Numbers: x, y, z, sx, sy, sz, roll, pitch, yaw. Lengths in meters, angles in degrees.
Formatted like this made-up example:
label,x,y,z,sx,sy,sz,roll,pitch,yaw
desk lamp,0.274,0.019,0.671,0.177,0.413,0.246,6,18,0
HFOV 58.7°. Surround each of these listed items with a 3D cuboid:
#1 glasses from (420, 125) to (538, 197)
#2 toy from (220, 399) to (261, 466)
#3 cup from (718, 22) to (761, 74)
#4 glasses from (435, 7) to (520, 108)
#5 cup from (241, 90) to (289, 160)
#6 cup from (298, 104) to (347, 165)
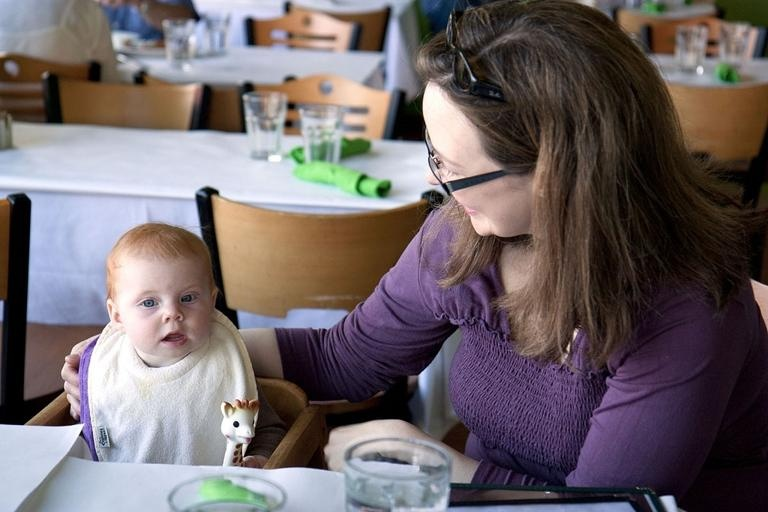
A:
label,x,y,z,sx,sy,sz,roll,pitch,yaw
glasses,0.160,-0.154,1.238,0.141,0.037,0.136,-12,31,-8
toy,-0.265,0.328,1.265,0.063,0.180,0.154,-2,18,-11
cup,1.737,-1.049,3.424,0.149,0.232,0.148,-10,23,4
glasses,0.155,-0.336,1.173,0.040,0.144,0.142,-8,29,-16
cup,-0.411,-0.451,2.353,0.159,0.222,0.170,1,13,0
cup,-0.211,-0.404,2.262,0.163,0.197,0.164,2,27,-1
